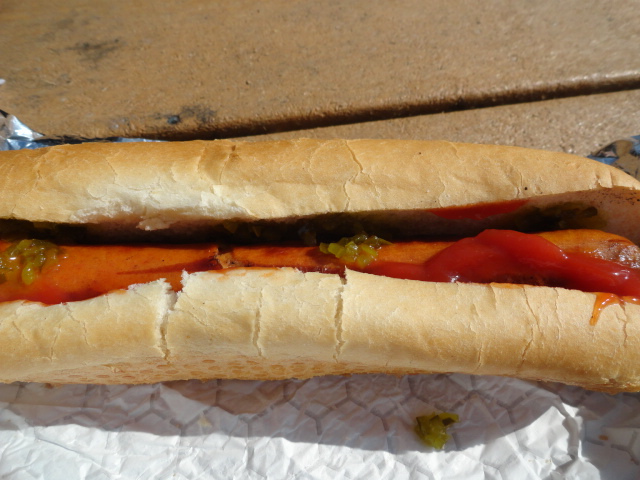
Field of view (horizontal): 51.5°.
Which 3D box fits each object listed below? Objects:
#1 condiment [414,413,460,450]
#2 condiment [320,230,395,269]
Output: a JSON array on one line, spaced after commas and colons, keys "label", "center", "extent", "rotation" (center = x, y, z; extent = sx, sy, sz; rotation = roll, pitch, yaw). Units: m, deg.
[{"label": "condiment", "center": [0.793, 1.312, 4.607], "extent": [0.284, 0.104, 0.272], "rotation": [15, 73, 9]}, {"label": "condiment", "center": [0.245, 0.057, 4.459], "extent": [0.547, 0.365, 0.202], "rotation": [-3, 96, -12]}]
